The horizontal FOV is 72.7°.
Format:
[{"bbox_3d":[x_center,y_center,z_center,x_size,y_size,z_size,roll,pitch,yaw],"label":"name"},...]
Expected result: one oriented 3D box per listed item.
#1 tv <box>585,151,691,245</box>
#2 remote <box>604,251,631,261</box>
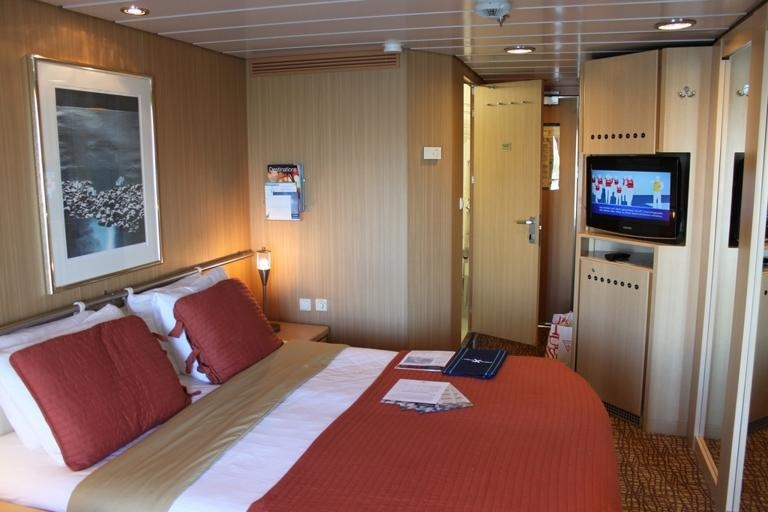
[{"bbox_3d":[2.075,-0.479,4.225,0.091,0.592,0.823,-8,10,-35],"label":"tv"},{"bbox_3d":[2.001,0.007,4.497,0.134,0.031,0.124,0,8,3],"label":"remote"}]
